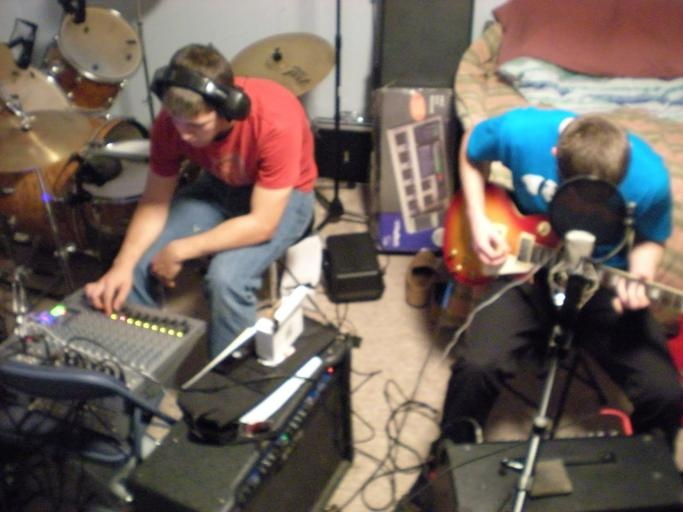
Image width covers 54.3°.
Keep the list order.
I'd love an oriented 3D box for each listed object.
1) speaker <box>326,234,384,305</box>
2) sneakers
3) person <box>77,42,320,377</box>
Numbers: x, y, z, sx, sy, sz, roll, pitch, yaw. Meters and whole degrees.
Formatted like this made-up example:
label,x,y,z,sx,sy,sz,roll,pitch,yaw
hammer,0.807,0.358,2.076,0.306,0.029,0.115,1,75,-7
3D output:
label,x,y,z,sx,sy,sz,roll,pitch,yaw
speaker,0.049,0.050,2.769,0.221,0.258,0.219,0,13,-9
sneakers,0.343,0.114,2.634,0.124,0.130,0.324,-2,49,3
person,-0.433,-0.146,2.345,0.498,1.127,0.955,15,32,18
